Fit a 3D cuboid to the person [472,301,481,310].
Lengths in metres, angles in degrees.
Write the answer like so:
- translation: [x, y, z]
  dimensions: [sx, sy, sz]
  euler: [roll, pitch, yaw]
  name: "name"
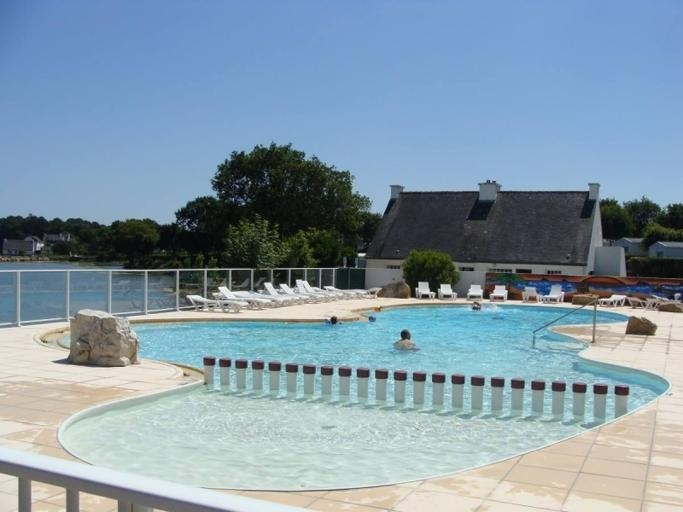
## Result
- translation: [6.090, 2.223, 28.803]
  dimensions: [0.304, 0.352, 0.738]
  euler: [2, -1, 5]
  name: "person"
